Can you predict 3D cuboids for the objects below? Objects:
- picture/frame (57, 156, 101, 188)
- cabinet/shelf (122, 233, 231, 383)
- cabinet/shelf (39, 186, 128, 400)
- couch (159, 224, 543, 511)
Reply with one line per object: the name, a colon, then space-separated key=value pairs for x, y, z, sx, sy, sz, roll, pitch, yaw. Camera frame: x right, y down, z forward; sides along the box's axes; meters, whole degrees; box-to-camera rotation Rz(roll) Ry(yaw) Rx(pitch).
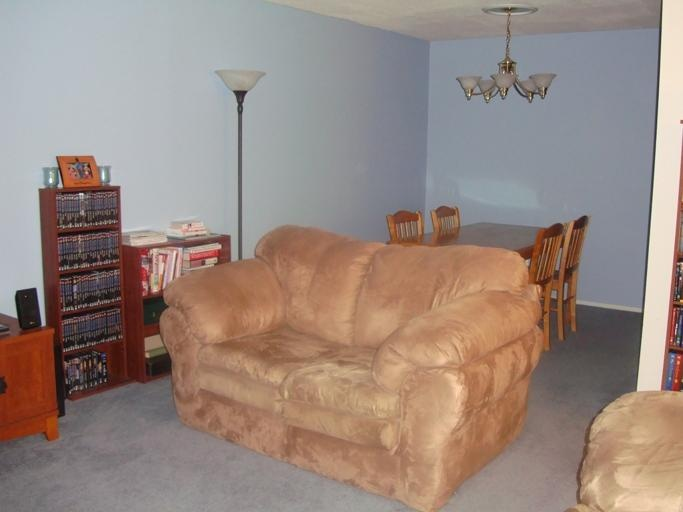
picture/frame: x=-1.741 y=-0.541 z=3.603 sx=0.021 sy=0.188 sz=0.211 roll=-22 pitch=-7 yaw=42
cabinet/shelf: x=-1.097 y=0.366 z=3.526 sx=0.308 sy=1.081 sz=0.930 roll=4 pitch=6 yaw=35
cabinet/shelf: x=-1.708 y=0.223 z=3.682 sx=0.509 sy=1.350 sz=0.326 roll=-10 pitch=17 yaw=-40
couch: x=0.059 y=0.518 z=3.104 sx=1.832 sy=1.086 sz=1.027 roll=9 pitch=15 yaw=33
